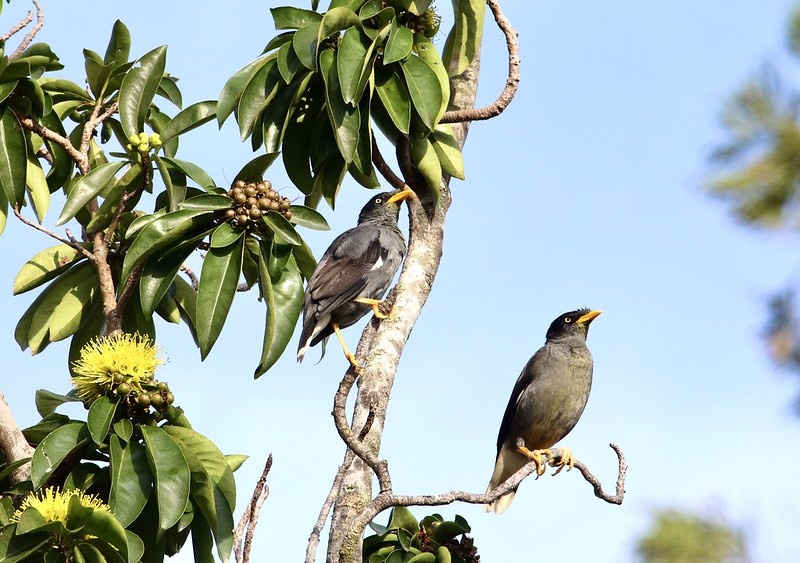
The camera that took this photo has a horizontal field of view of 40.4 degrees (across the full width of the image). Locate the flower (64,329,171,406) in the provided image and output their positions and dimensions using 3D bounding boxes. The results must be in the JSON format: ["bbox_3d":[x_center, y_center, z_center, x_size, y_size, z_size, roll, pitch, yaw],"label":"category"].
[{"bbox_3d":[-1.388,0.407,5.388,0.280,0.311,0.258,2,-79,-9],"label":"flower"}]

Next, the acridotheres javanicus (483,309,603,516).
[{"bbox_3d":[0.995,0.857,7.319,0.606,1.507,1.071,11,-44,-2],"label":"acridotheres javanicus"}]

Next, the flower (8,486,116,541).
[{"bbox_3d":[-1.631,1.105,5.167,0.412,0.387,0.240,-14,-85,46],"label":"flower"}]
